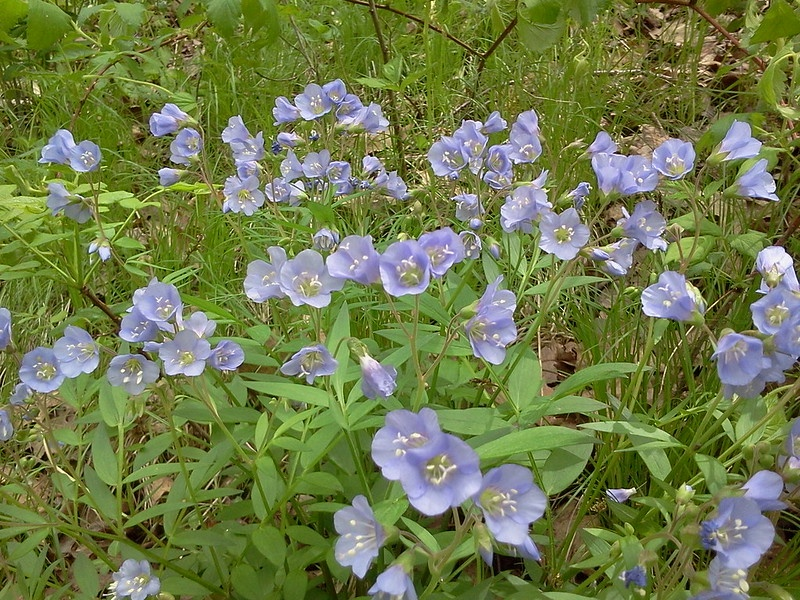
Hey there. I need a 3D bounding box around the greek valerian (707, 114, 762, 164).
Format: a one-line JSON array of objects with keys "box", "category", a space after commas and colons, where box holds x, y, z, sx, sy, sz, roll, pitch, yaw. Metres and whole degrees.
[{"box": [1.650, -0.782, 3.474, 0.152, 0.222, 0.235, 12, 9, -10], "category": "greek valerian"}]

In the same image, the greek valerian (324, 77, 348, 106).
[{"box": [-0.384, -1.237, 4.185, 0.097, 0.127, 0.175, 31, 53, 17], "category": "greek valerian"}]

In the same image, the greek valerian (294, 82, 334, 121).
[{"box": [-0.532, -1.170, 4.211, 0.163, 0.213, 0.222, -28, 59, -28], "category": "greek valerian"}]

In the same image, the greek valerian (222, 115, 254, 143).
[{"box": [-1.013, -1.008, 4.291, 0.190, 0.104, 0.207, -6, 67, 1], "category": "greek valerian"}]
